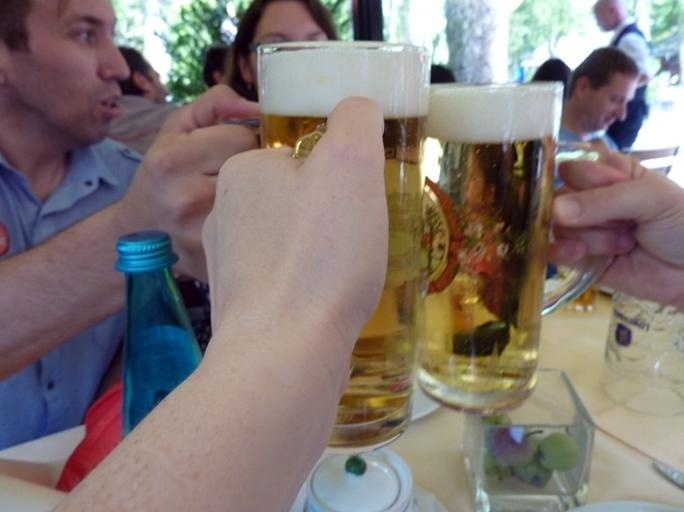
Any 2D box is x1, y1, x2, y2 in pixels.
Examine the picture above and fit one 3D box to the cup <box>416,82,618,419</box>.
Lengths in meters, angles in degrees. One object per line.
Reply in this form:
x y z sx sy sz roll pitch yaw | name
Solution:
0.206 -0.005 0.839 0.184 0.445 0.166 2 21 13 | cup
